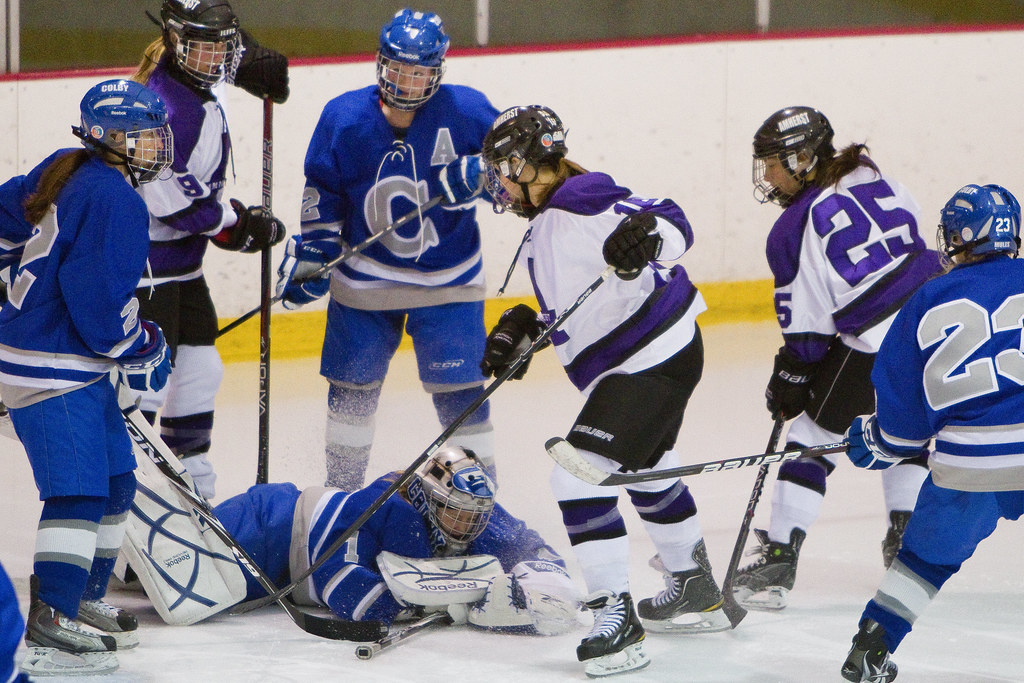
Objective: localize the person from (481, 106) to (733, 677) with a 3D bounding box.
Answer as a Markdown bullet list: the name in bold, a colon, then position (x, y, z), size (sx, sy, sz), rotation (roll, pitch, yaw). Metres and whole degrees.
- **person**: position (0.358, 0.140, 5.191), size (0.714, 1.973, 0.849), rotation (-5, 14, -41)

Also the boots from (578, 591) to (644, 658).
- **boots**: position (0.329, 1.019, 4.972), size (0.120, 0.207, 0.377), rotation (-17, -6, 37)

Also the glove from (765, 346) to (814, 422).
- **glove**: position (1.132, 0.183, 5.748), size (0.218, 0.278, 0.098), rotation (0, 29, -47)

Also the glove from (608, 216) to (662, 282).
- **glove**: position (0.422, -0.340, 4.913), size (0.200, 0.242, 0.111), rotation (6, 10, 7)

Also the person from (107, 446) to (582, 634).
- **person**: position (-0.611, 0.788, 5.326), size (1.646, 0.601, 0.753), rotation (1, 8, 16)

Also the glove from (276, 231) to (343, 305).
- **glove**: position (-0.881, -0.297, 5.915), size (0.118, 0.289, 0.288), rotation (29, 14, -20)

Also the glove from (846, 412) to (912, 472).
- **glove**: position (1.322, 0.372, 4.979), size (0.237, 0.100, 0.161), rotation (-17, 43, 3)

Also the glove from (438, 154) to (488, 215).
- **glove**: position (-0.173, -0.652, 5.685), size (0.157, 0.221, 0.316), rotation (-2, 11, -34)

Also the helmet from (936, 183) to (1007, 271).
- **helmet**: position (1.653, -0.416, 4.935), size (0.247, 0.268, 0.278), rotation (0, 13, -5)

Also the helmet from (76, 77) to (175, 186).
- **helmet**: position (-1.340, -0.792, 5.092), size (0.399, 0.363, 0.293), rotation (2, 20, -6)

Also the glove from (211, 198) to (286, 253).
- **glove**: position (-1.112, -0.485, 5.863), size (0.297, 0.204, 0.128), rotation (-2, 55, -45)

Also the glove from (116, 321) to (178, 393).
- **glove**: position (-1.302, 0.025, 5.104), size (0.207, 0.247, 0.251), rotation (-3, 47, 0)

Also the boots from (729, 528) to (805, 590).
- **boots**: position (1.002, 0.885, 5.576), size (0.351, 0.245, 0.112), rotation (-6, -15, 27)

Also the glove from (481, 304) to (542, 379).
- **glove**: position (-0.002, 0.012, 5.293), size (0.133, 0.215, 0.291), rotation (20, 56, 26)

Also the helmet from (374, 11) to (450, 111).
- **helmet**: position (-0.407, -1.143, 5.706), size (0.316, 0.381, 0.386), rotation (6, 45, -1)
